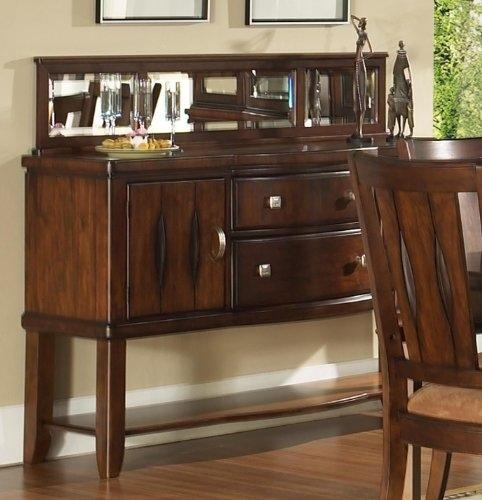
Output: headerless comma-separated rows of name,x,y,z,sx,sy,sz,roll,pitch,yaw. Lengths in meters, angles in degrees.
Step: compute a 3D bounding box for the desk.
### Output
desk,-0.014,0.207,2.410,0.569,1.085,1.609,2,4,43
